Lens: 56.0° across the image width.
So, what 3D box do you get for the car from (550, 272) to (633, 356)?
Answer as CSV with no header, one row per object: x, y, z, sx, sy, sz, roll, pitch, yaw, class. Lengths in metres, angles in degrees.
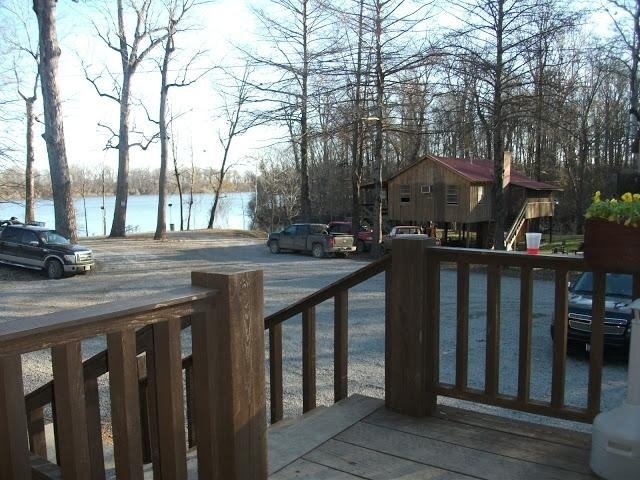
4.424,1.108,9.524,1.233,1.542,2.931,-1,-6,26,car

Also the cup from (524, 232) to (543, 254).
1.739,0.019,4.896,0.106,0.159,0.363,3,-2,19,cup

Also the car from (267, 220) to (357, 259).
-0.499,-0.020,27.473,3.877,1.498,1.057,3,-1,32,car

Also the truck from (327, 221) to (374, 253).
1.778,-0.220,30.268,1.181,1.224,2.618,2,10,21,truck
